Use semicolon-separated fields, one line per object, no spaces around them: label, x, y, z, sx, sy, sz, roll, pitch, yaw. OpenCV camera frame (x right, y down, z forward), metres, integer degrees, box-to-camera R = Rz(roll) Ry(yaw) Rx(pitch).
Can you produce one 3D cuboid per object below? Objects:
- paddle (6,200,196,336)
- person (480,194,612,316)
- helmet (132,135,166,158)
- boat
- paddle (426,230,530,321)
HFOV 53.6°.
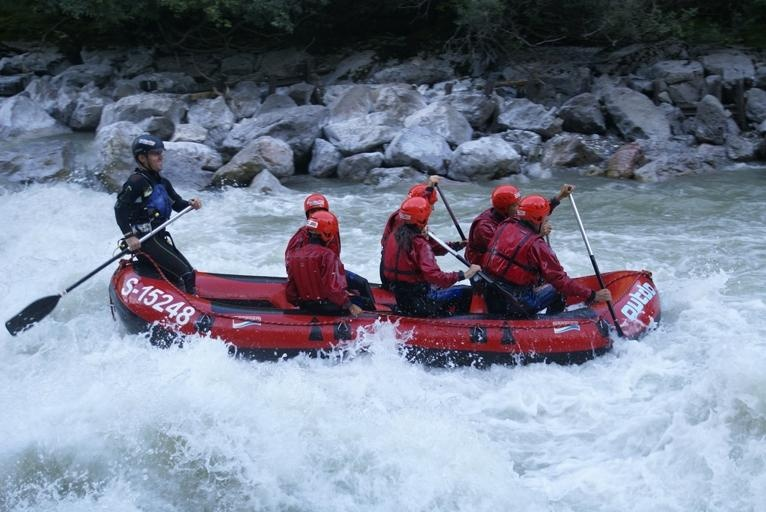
paddle;-4.363;0.240;11.701;4.156;0.447;0.276;-29;18;-6
person;2.096;0.099;10.403;1.448;1.764;0.845;5;30;6
helmet;-3.298;-1.539;10.696;0.421;0.306;0.297;16;14;11
boat;0.042;0.828;10.663;8.023;1.372;2.523;0;27;-3
paddle;1.355;0.301;10.528;2.148;0.219;0.107;33;25;9
